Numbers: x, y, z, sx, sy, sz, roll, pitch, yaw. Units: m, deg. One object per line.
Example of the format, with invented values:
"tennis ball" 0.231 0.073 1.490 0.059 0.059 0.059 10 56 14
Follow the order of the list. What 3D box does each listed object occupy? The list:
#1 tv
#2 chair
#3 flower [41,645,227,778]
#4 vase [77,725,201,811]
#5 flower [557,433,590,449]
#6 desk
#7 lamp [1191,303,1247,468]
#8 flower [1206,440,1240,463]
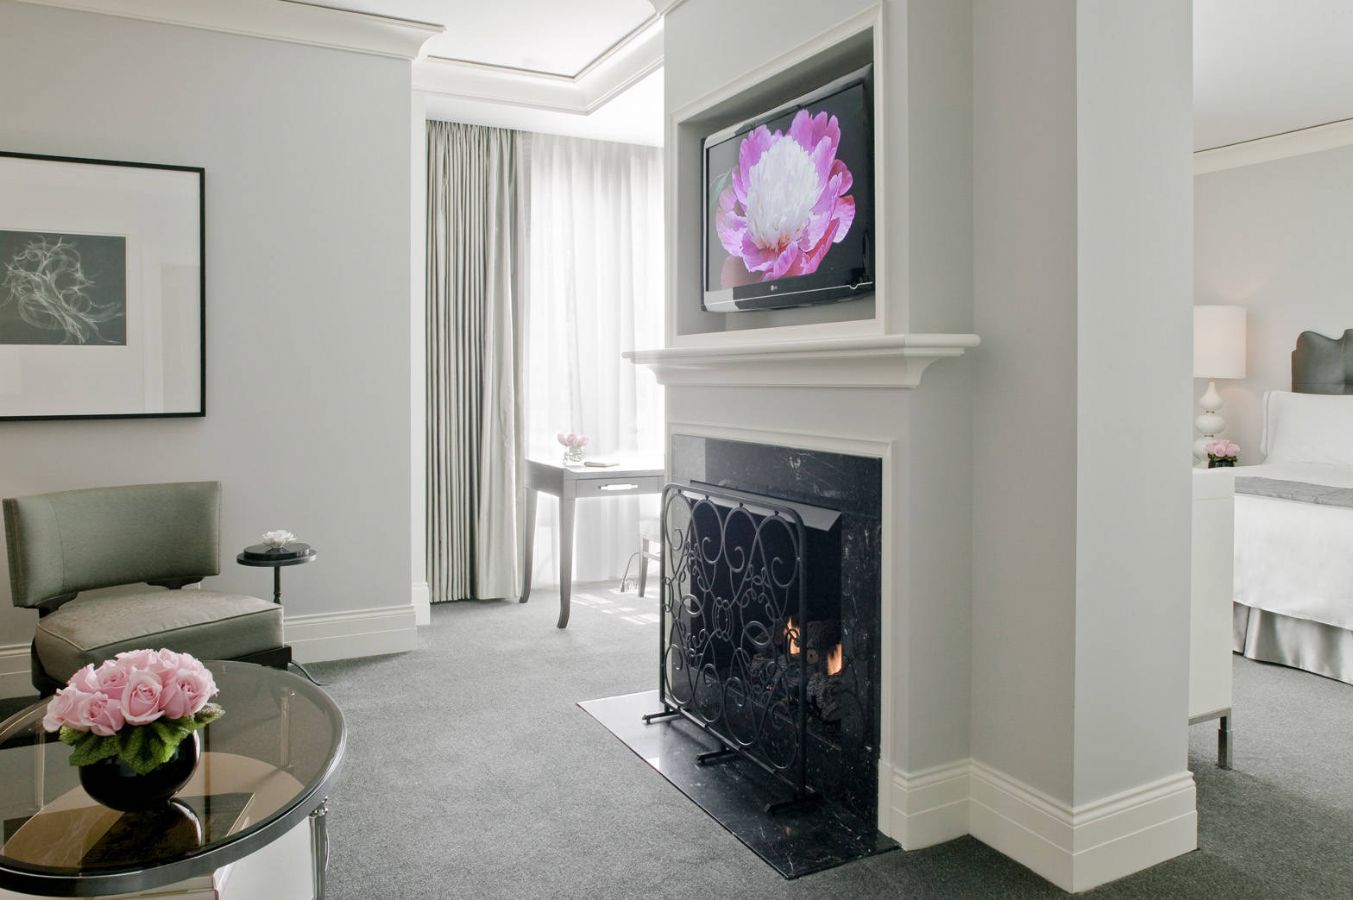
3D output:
"tv" 0.476 -1.110 3.830 0.124 0.887 1.188 0 0 -25
"chair" -2.306 0.526 4.276 1.025 1.167 1.248 1 2 42
"flower" -1.554 0.764 2.653 0.423 0.317 0.173 -1 12 -3
"vase" -1.535 0.934 2.646 0.256 0.184 0.255 -6 5 -25
"flower" -0.664 -0.058 5.868 0.153 0.095 0.239 -3 12 -15
"desk" -0.450 0.536 6.039 1.379 1.160 0.872 -1 3 -26
"lamp" 3.982 -0.498 6.796 0.364 1.143 0.896 7 14 32
"flower" 3.362 0.015 5.668 0.214 0.190 0.218 3 5 32
